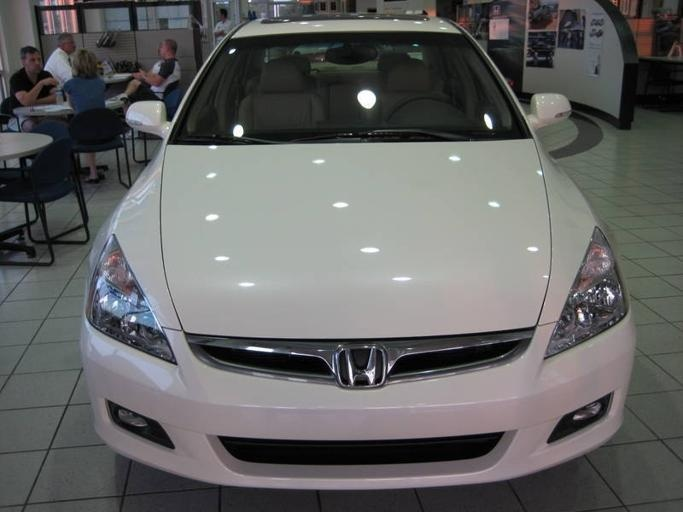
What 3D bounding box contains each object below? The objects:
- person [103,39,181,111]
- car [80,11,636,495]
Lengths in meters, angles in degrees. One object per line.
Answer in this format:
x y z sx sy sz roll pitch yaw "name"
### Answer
-3.164 -2.928 8.292 0.929 1.375 0.632 10 24 -16 "person"
0.047 -0.299 2.060 1.191 0.962 2.235 -1 27 1 "car"
